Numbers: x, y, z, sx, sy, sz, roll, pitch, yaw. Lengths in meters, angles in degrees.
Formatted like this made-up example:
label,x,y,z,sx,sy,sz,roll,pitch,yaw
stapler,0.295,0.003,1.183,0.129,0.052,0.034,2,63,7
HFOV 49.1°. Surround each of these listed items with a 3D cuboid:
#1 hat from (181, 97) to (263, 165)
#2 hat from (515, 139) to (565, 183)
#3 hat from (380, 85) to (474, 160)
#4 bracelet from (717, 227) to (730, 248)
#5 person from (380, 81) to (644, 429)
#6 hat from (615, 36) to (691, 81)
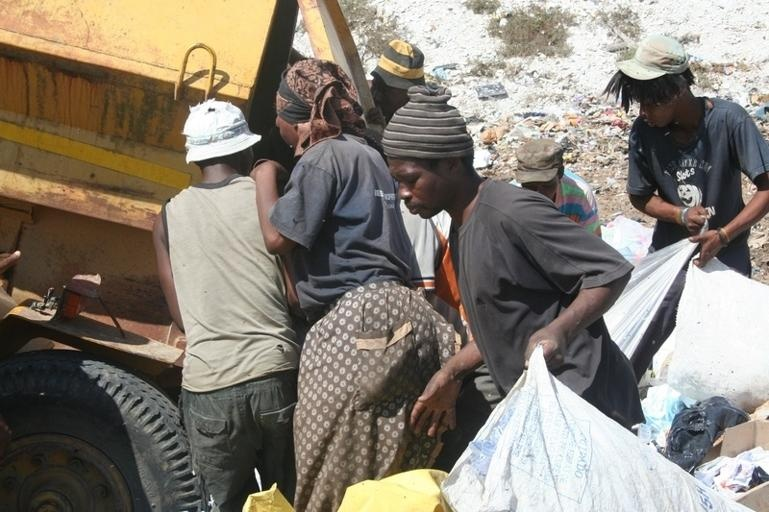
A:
label,x,y,z,sx,sy,sz,roll,pitch,yaw
hat,-0.936,-0.737,4.671,0.493,0.289,0.435,-1,25,24
hat,0.995,-0.647,5.447,0.328,0.141,0.464,-1,36,25
hat,0.210,-0.646,4.011,0.442,0.329,0.455,5,23,13
bracelet,2.013,-0.114,5.048,0.091,0.089,0.091,-14,57,17
person,0.575,0.074,3.960,1.209,1.717,0.512,7,8,21
hat,1.629,-1.236,5.119,0.466,0.233,0.336,-5,28,-16
